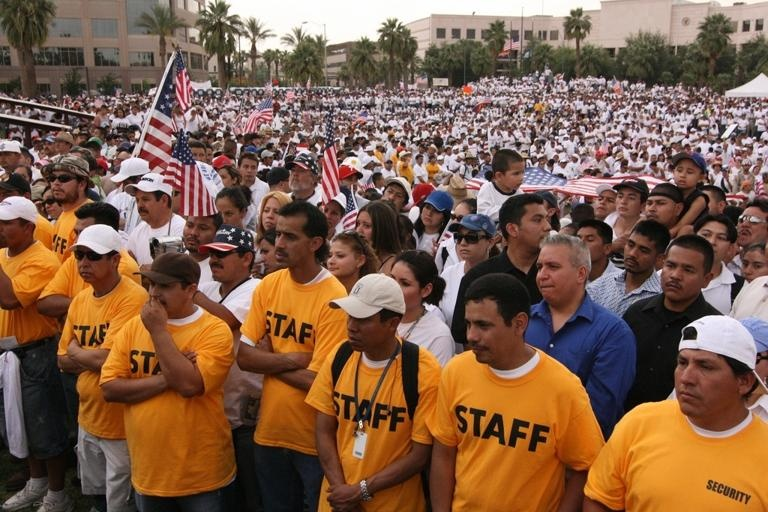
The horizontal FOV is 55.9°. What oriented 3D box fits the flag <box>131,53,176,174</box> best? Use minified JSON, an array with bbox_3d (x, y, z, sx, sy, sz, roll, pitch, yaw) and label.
[{"bbox_3d":[-3.350,-2.042,10.673,0.688,1.479,0.425,-10,20,-38],"label":"flag"}]
